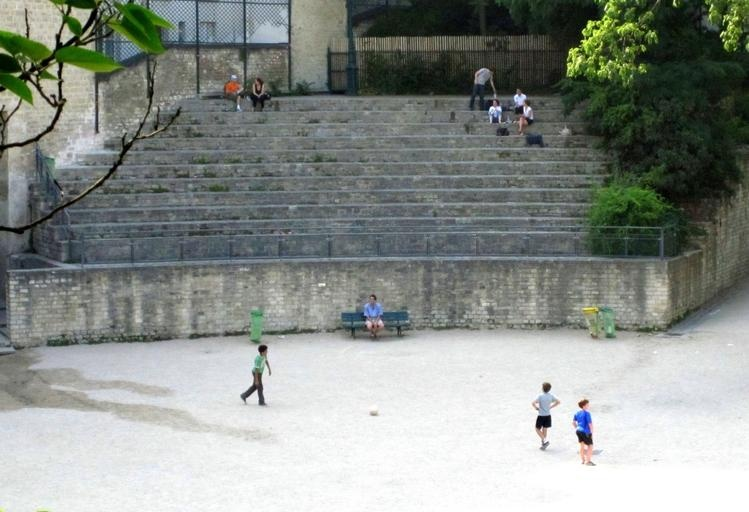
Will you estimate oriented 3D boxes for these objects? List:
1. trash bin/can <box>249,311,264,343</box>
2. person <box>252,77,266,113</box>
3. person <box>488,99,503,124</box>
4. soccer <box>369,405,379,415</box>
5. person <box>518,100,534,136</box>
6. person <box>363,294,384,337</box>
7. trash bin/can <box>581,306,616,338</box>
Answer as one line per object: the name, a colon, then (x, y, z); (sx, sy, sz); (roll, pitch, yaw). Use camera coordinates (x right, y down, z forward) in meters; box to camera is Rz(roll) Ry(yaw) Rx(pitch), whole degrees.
trash bin/can: (-4.303, 2.470, 67.470); (0.488, 1.128, 0.897); (-3, 8, -3)
person: (-4.697, -6.502, 75.700); (0.561, 1.296, 0.698); (1, 9, 26)
person: (4.764, -5.822, 75.809); (0.563, 0.940, 1.078); (-2, 8, 3)
soccer: (-0.094, 4.955, 61.184); (0.262, 0.155, 0.254); (1, 13, 0)
person: (5.857, -5.513, 74.902); (0.558, 1.232, 1.009); (4, 10, 37)
person: (-0.120, 2.109, 67.648); (0.694, 1.555, 0.627); (-3, 8, -2)
trash bin/can: (7.989, 2.308, 67.640); (1.149, 1.081, 0.768); (0, 9, 16)
